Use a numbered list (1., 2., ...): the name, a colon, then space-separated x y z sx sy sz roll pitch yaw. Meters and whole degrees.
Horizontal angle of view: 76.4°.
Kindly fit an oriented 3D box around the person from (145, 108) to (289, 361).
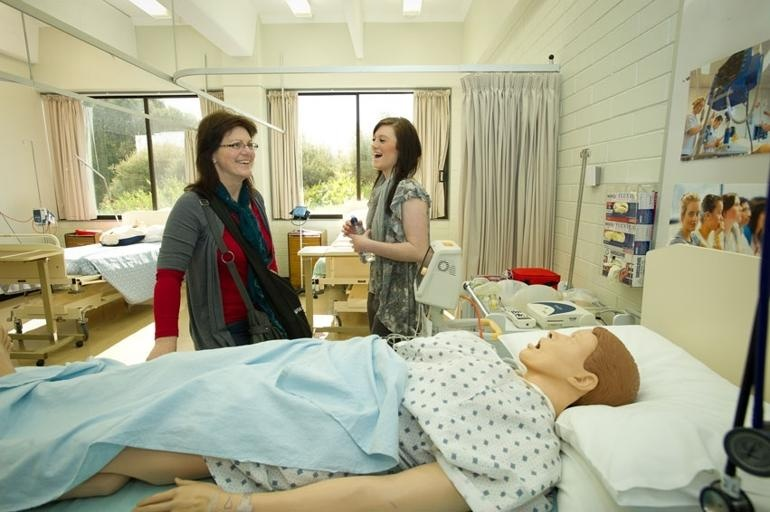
1. person: -0.898 -0.135 2.573 0.611 1.260 0.503 -1 10 -16

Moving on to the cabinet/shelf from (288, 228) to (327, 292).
1. cabinet/shelf: -1.076 0.001 6.774 0.629 0.839 0.604 -10 23 -31
